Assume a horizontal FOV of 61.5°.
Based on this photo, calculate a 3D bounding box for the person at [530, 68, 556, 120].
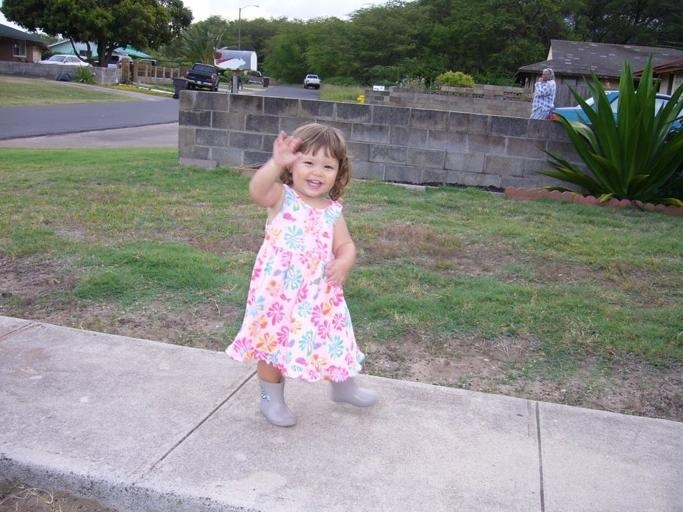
[{"bbox_3d":[3.797,-3.065,10.739,0.409,0.930,1.795,7,16,18],"label":"person"}]

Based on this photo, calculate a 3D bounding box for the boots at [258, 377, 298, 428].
[{"bbox_3d":[-0.342,0.770,3.053,0.132,0.205,0.288,0,8,-38],"label":"boots"}]

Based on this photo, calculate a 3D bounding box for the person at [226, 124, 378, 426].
[{"bbox_3d":[-0.213,0.088,3.050,0.778,1.535,0.486,-1,15,-13],"label":"person"}]

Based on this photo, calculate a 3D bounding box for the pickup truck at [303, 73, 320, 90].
[{"bbox_3d":[-3.199,-18.814,62.318,1.502,1.308,2.848,-1,28,-12],"label":"pickup truck"}]

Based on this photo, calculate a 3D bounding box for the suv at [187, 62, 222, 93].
[{"bbox_3d":[-7.913,-10.358,33.554,1.620,1.563,3.422,3,20,-1],"label":"suv"}]
